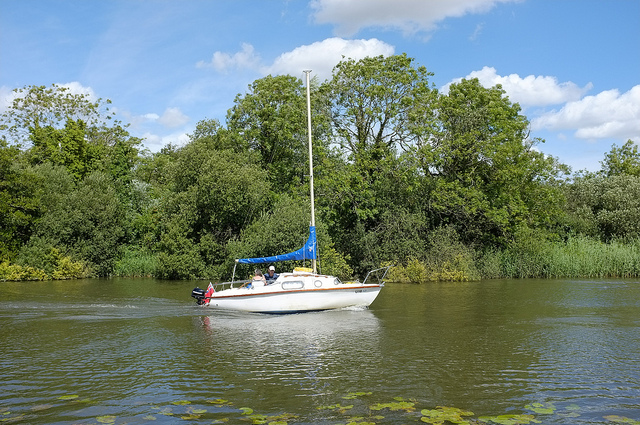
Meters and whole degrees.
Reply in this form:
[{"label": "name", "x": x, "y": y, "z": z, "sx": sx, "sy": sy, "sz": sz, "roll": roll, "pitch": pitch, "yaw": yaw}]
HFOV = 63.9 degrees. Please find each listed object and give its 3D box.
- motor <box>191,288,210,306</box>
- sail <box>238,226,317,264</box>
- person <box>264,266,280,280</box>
[{"label": "motor", "x": -7.364, "y": 5.079, "z": 31.816, "sx": 0.620, "sy": 1.381, "sz": 0.496, "roll": 4, "pitch": 6, "yaw": 8}, {"label": "sail", "x": -2.714, "y": 2.234, "z": 32.402, "sx": 5.368, "sy": 2.876, "sz": 0.574, "roll": -8, "pitch": 36, "yaw": -6}, {"label": "person", "x": -3.046, "y": 3.918, "z": 32.552, "sx": 1.440, "sy": 0.972, "sz": 0.693, "roll": 1, "pitch": 0, "yaw": -14}]
